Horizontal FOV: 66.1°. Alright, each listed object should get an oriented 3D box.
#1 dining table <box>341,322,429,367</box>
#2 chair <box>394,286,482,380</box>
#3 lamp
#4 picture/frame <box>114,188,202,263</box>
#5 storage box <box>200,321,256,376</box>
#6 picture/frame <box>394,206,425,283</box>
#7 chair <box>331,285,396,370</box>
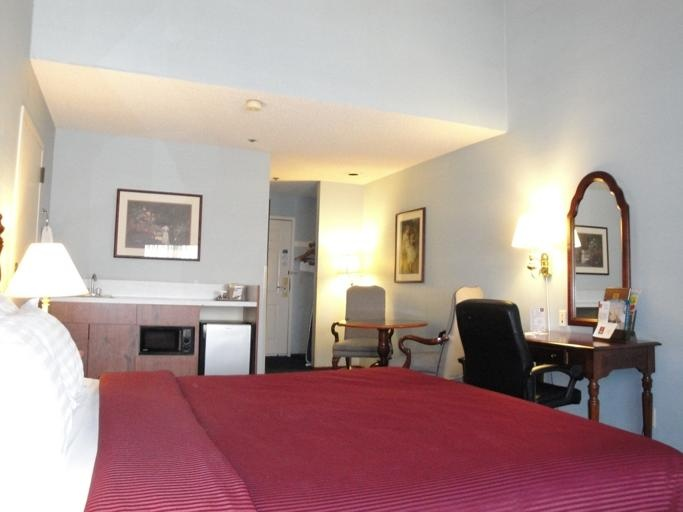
[{"bbox_3d":[0.425,0.847,5.557,0.617,0.359,0.675,-3,-4,32],"label":"dining table"},{"bbox_3d":[0.906,0.818,5.030,0.600,0.974,0.707,2,-4,18],"label":"chair"},{"bbox_3d":[-1.837,0.108,3.260,0.370,0.598,0.394,-1,2,-30],"label":"lamp"},{"bbox_3d":[-2.005,-0.321,5.600,0.754,0.657,0.054,4,-8,-21],"label":"picture/frame"},{"bbox_3d":[-1.166,0.880,5.411,0.559,0.819,0.537,2,-5,-27],"label":"storage box"},{"bbox_3d":[0.852,-0.123,6.537,0.132,0.943,0.642,1,4,-17],"label":"picture/frame"},{"bbox_3d":[0.291,0.948,6.399,0.666,1.181,0.684,0,-3,14],"label":"chair"}]
